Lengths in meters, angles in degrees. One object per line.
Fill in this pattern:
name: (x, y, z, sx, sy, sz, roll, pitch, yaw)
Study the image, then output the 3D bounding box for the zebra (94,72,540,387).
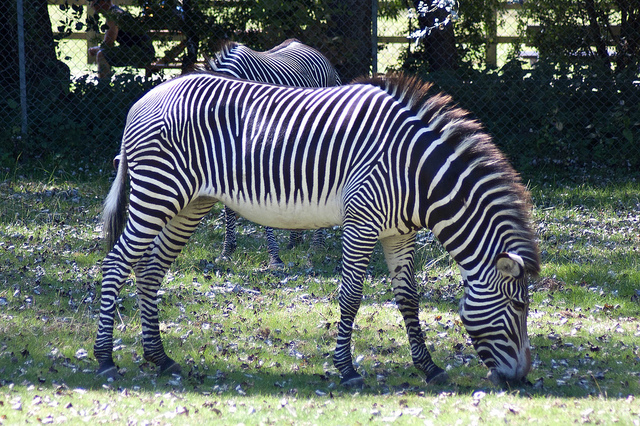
zebra: (0.001, 0.225, 9.441, 4.925, 3.812, 1.323, 5, 2, 5)
